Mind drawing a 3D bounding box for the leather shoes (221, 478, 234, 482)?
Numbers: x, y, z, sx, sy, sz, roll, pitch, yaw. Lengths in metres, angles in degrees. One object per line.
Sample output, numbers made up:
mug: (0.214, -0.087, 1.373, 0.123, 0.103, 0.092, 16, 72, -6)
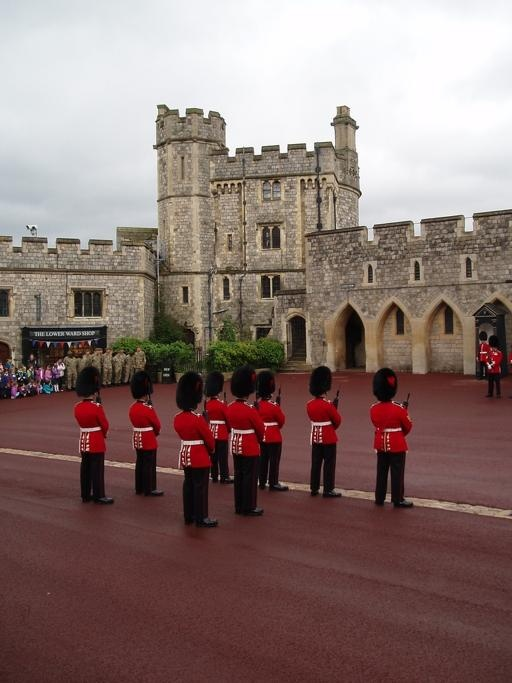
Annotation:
leather shoes: (-0.399, 1.885, 9.500, 0.101, 0.059, 0.160, -1, 0, 22)

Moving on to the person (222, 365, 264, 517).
person: (-0.106, 1.062, 7.534, 0.392, 1.481, 0.825, 1, 1, -6)

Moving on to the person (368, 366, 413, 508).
person: (1.464, 1.043, 7.648, 0.444, 1.417, 0.750, 1, 1, 10)

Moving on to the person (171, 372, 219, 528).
person: (-0.610, 1.089, 7.150, 0.430, 1.463, 0.741, 1, 1, -7)

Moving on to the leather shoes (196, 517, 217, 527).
leather shoes: (-0.494, 1.770, 6.885, 0.207, 0.112, 0.076, -2, 4, -1)

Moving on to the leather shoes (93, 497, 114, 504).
leather shoes: (-1.705, 1.801, 7.927, 0.204, 0.057, 0.124, 1, 1, -23)

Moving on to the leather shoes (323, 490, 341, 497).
leather shoes: (0.849, 1.737, 7.981, 0.208, 0.107, 0.076, -1, 3, -3)

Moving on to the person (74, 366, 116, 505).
person: (-1.908, 1.094, 8.293, 0.421, 1.491, 1.010, 1, 1, -15)

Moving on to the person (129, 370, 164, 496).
person: (-1.320, 1.121, 8.474, 0.331, 1.425, 0.563, 1, 1, -24)

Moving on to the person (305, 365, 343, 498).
person: (0.795, 1.062, 8.347, 0.381, 1.442, 0.914, 1, 1, 4)

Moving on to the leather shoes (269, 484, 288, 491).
leather shoes: (0.267, 1.779, 8.527, 0.220, 0.115, 0.088, -5, -2, 5)
